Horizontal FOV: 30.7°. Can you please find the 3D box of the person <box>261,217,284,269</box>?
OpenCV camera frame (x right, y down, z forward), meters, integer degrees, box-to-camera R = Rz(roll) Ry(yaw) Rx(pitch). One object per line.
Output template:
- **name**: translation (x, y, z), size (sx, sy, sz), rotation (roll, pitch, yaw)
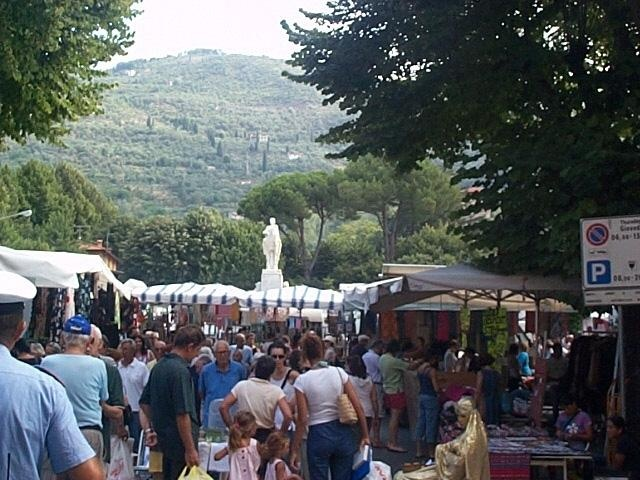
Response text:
- **person**: translation (-2.068, 0.107, 50.190), size (0.691, 1.674, 2.439), rotation (0, -1, -2)
